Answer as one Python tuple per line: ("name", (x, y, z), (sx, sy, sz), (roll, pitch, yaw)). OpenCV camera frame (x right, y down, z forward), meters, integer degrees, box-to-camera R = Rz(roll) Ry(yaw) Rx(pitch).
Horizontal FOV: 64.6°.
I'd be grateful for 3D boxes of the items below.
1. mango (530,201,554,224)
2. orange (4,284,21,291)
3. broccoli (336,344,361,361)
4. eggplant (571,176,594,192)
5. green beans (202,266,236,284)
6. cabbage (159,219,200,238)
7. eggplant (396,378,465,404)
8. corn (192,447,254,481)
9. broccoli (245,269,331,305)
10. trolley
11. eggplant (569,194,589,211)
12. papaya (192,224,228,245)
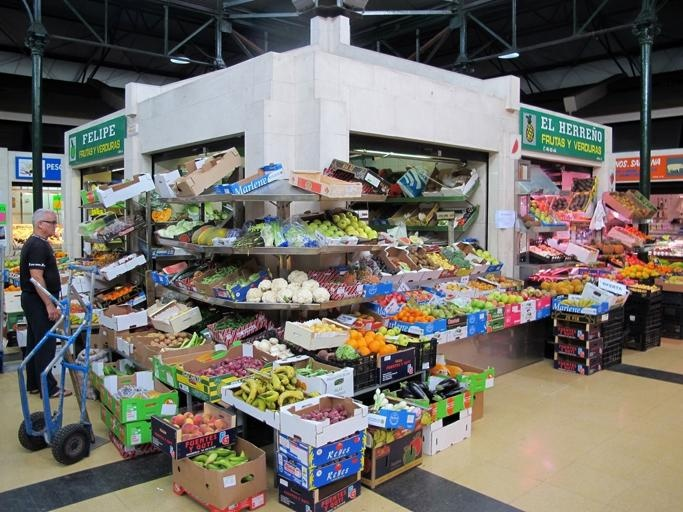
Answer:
("mango", (3.025, -0.672, 8.194), (0.382, 0.365, 0.125), (-4, -18, -30))
("orange", (-5.070, 0.488, 8.398), (0.167, 0.058, 0.162), (2, 1, 43))
("broccoli", (0.053, 0.877, 4.915), (0.129, 0.074, 0.144), (1, 11, -26))
("eggplant", (4.321, -1.287, 9.663), (0.303, 0.284, 0.080), (0, -1, -9))
("green beans", (-1.331, 0.197, 5.939), (0.416, 0.139, 0.386), (-6, 12, -31))
("cabbage", (-2.035, -0.340, 6.771), (0.352, 0.102, 0.336), (-13, 8, -10))
("eggplant", (0.882, 1.264, 5.109), (0.564, 0.189, 0.482), (-3, 7, -39))
("corn", (-0.918, 1.660, 4.307), (0.404, 0.176, 0.352), (-7, 13, -36))
("broccoli", (-0.514, 0.320, 5.503), (0.702, 0.278, 0.468), (-4, 8, -29))
("trolley", (-2.614, 1.085, 4.970), (0.626, 1.317, 0.398), (-5, -5, 40))
("eggplant", (4.134, -0.977, 9.550), (0.370, 0.350, 0.111), (-6, 18, -25))
("papaya", (-1.490, -0.247, 6.148), (0.256, 0.131, 0.318), (1, 9, 40))
